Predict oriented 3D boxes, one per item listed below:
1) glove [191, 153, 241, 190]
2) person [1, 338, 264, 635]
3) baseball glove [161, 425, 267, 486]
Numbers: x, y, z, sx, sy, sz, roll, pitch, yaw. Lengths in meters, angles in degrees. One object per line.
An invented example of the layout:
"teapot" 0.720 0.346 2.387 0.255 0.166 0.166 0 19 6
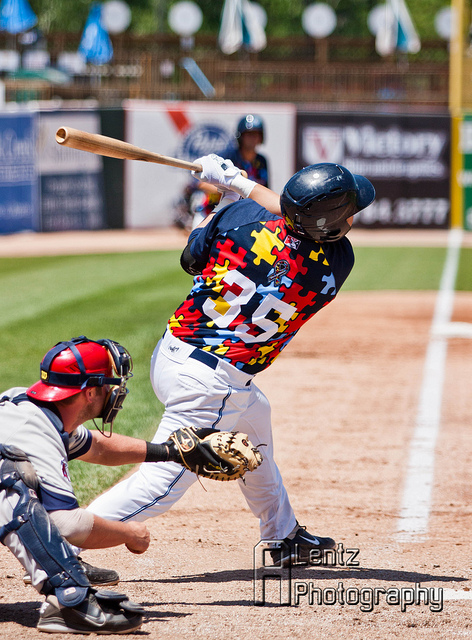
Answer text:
"glove" -0.087 -0.590 3.832 0.183 0.057 0.134 21 45 26
"person" -0.465 0.531 3.285 0.601 0.913 0.741 14 16 38
"baseball glove" -0.065 0.469 3.455 0.355 0.125 0.232 10 1 -24
